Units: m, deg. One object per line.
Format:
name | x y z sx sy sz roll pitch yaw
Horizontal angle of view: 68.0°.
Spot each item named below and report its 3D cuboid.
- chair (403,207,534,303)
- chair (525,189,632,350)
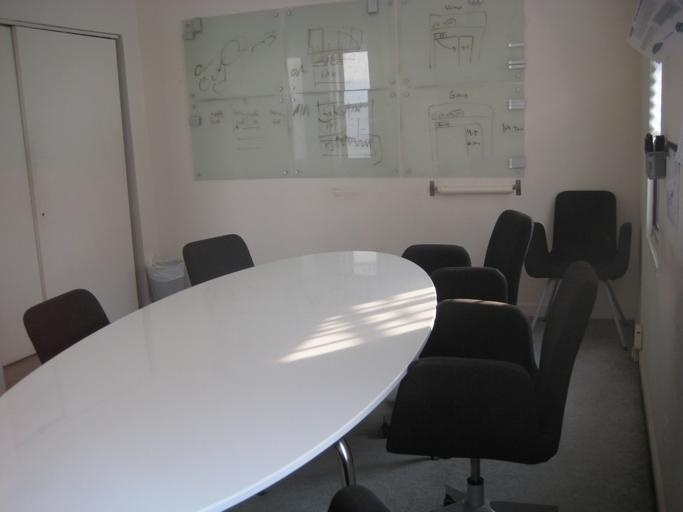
chair | 0.732 0.002 3.169 0.640 0.848 0.623 0 11 2
chair | 1.943 0.049 4.177 0.940 1.584 1.048 1 0 20
